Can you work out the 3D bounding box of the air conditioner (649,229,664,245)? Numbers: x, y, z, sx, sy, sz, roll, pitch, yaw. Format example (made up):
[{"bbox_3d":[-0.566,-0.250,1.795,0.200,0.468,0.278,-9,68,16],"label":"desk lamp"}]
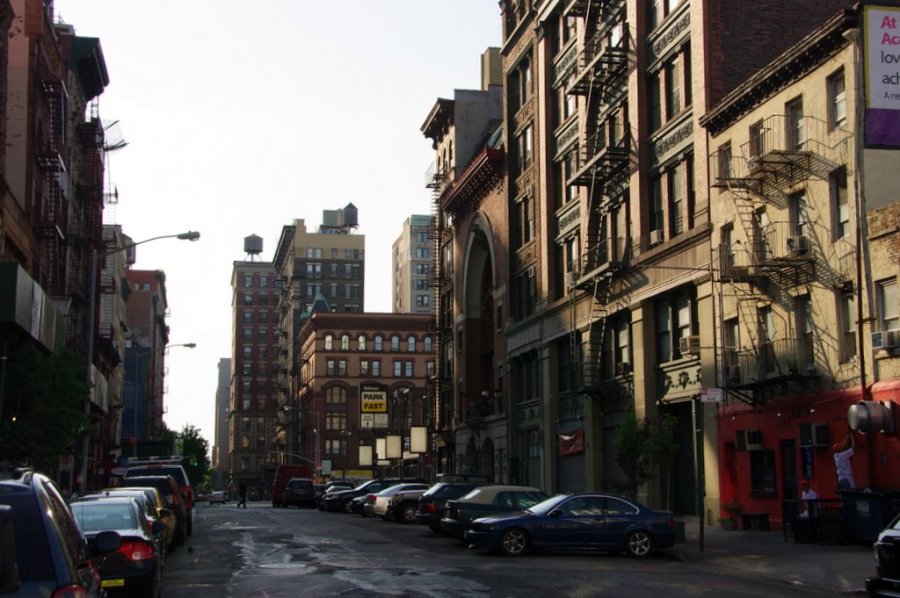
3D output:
[{"bbox_3d":[9.577,-2.901,51.936,0.499,0.952,0.941,0,-3,-15],"label":"air conditioner"}]

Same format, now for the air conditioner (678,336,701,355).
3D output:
[{"bbox_3d":[10.370,1.951,48.470,0.637,0.961,0.928,3,-7,-12],"label":"air conditioner"}]

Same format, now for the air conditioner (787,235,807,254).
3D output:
[{"bbox_3d":[13.024,-2.040,41.965,0.595,0.911,0.624,1,-1,-30],"label":"air conditioner"}]

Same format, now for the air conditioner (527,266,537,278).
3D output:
[{"bbox_3d":[5.053,-1.687,68.319,0.134,0.534,0.524,4,-9,-25],"label":"air conditioner"}]
